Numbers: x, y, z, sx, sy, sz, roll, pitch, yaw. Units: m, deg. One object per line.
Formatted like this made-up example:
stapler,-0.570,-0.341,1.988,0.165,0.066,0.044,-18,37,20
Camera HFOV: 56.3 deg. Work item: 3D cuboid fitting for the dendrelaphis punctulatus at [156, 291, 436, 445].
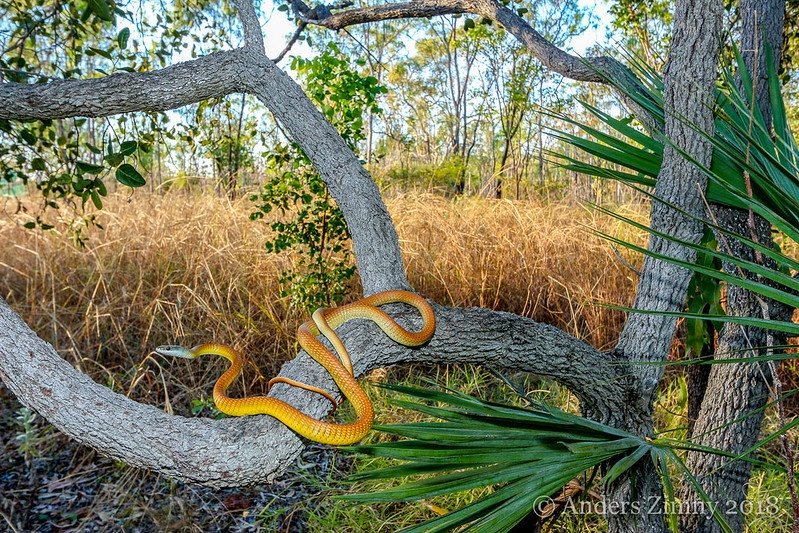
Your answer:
dendrelaphis punctulatus,-0.698,0.809,5.462,1.351,0.217,1.125,8,40,8
